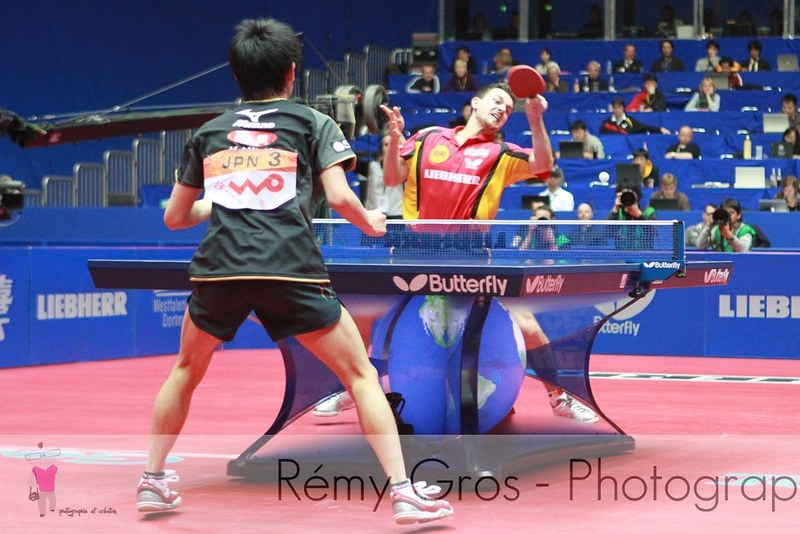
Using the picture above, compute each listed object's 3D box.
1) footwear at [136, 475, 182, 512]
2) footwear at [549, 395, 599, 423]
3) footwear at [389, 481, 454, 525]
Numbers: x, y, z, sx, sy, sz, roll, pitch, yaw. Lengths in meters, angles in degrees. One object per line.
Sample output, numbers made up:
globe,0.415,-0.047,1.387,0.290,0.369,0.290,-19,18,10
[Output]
footwear,-1.508,1.423,6.441,0.145,0.160,0.343,-1,-4,22
footwear,1.326,1.103,7.942,0.396,0.132,0.174,18,-8,45
footwear,0.120,1.425,6.248,0.364,0.302,0.270,-1,8,-7
